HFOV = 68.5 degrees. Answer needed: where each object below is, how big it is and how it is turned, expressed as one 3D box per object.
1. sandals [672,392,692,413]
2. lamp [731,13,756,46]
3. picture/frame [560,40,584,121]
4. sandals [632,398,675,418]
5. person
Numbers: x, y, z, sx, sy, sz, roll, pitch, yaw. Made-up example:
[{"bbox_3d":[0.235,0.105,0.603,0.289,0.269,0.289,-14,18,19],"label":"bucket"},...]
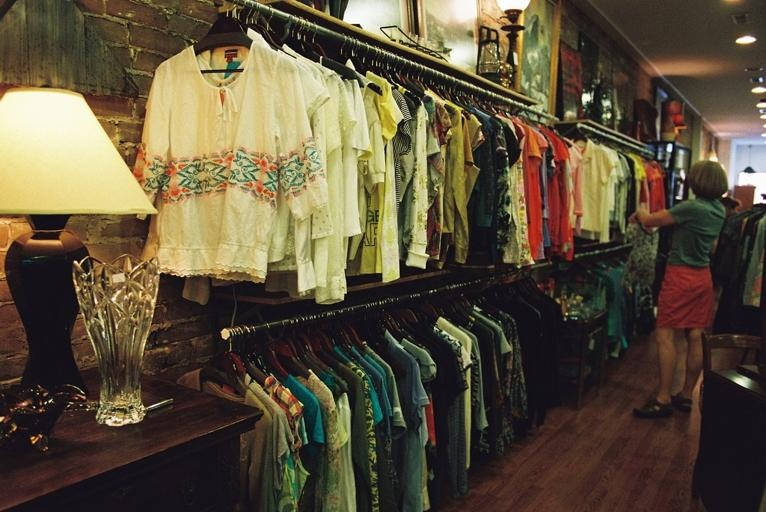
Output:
[{"bbox_3d":[2.211,1.086,4.189,0.072,0.082,0.183,-2,7,-2],"label":"sandals"},{"bbox_3d":[3.934,-2.491,6.166,0.245,0.272,0.271,-4,-7,11],"label":"lamp"},{"bbox_3d":[1.836,-1.712,5.513,0.063,0.928,0.928,2,6,29],"label":"picture/frame"},{"bbox_3d":[1.957,1.111,4.150,0.318,0.139,0.115,1,-5,1],"label":"sandals"},{"bbox_3d":[2.149,0.237,4.061,0.414,1.825,0.515,7,12,30],"label":"person"}]
